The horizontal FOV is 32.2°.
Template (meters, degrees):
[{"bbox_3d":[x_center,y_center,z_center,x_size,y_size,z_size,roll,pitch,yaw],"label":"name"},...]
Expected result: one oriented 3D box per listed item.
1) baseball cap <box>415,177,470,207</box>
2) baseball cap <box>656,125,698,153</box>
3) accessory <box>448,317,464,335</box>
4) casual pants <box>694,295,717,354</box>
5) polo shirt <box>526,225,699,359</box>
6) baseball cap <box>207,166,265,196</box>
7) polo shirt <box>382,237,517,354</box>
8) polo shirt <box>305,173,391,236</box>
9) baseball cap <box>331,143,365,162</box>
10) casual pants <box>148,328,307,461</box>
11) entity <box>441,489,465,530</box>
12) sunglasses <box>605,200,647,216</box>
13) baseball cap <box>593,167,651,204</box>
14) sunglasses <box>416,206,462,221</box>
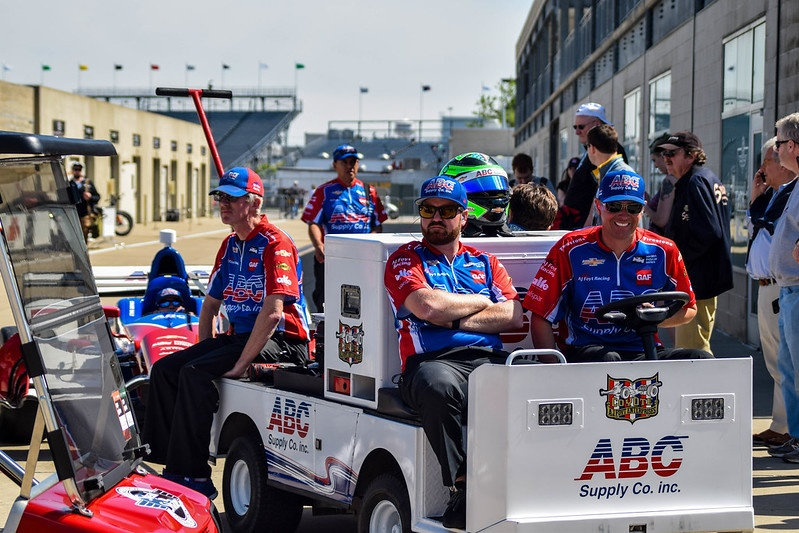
[{"bbox_3d":[0.304,-0.556,10.382,0.360,0.229,0.430,-2,9,2],"label":"baseball cap"},{"bbox_3d":[2.532,-1.139,12.477,0.261,0.149,0.189,2,0,-1],"label":"baseball cap"},{"bbox_3d":[0.404,0.433,10.185,0.035,0.075,0.096,15,-15,-23],"label":"accessory"},{"bbox_3d":[2.795,0.509,12.472,0.126,0.506,0.134,4,-24,18],"label":"casual pants"},{"bbox_3d":[1.590,0.163,10.548,1.360,0.973,0.584,-1,17,-8],"label":"polo shirt"},{"bbox_3d":[-1.336,-0.678,11.595,0.361,0.192,0.257,8,-5,-30],"label":"baseball cap"},{"bbox_3d":[0.319,0.238,10.224,0.749,0.715,0.393,2,-19,-25],"label":"polo shirt"},{"bbox_3d":[-0.618,-0.584,15.457,0.980,0.804,0.419,0,-9,-13],"label":"polo shirt"},{"bbox_3d":[-0.622,-1.247,15.221,0.223,0.129,0.319,0,3,-13],"label":"baseball cap"},{"bbox_3d":[-1.677,1.087,11.547,0.713,1.371,0.650,-2,-17,-1],"label":"casual pants"},{"bbox_3d":[0.374,1.703,9.642,0.158,0.251,0.163,-1,9,9],"label":"entity"},{"bbox_3d":[1.658,-0.434,10.285,0.283,0.106,0.063,-1,9,6],"label":"sunglasses"},{"bbox_3d":[1.666,-0.603,10.423,0.398,0.273,0.526,5,4,12],"label":"baseball cap"},{"bbox_3d":[0.292,-0.405,10.249,0.330,0.108,0.095,-2,9,1],"label":"sunglasses"}]
